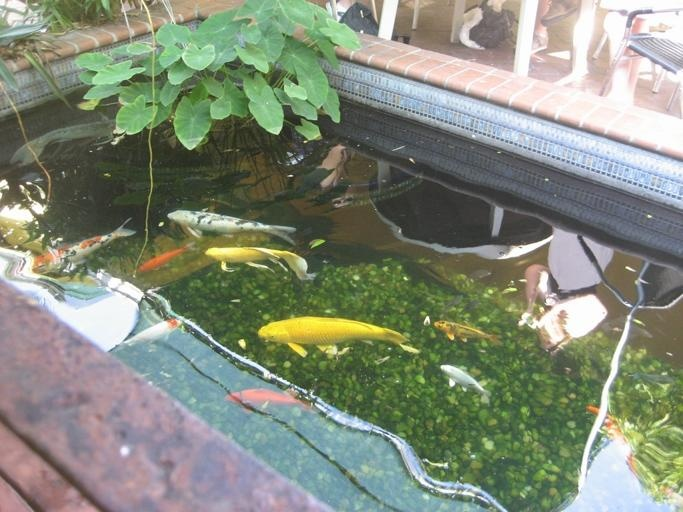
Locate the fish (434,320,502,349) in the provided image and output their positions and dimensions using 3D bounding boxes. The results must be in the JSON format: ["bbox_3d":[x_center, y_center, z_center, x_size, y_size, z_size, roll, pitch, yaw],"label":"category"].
[{"bbox_3d":[0.575,0.349,2.562,0.301,0.072,0.114,-2,35,6],"label":"fish"}]

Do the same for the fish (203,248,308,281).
[{"bbox_3d":[-0.428,0.082,2.844,0.433,0.144,0.217,5,-5,-5],"label":"fish"}]

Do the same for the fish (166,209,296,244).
[{"bbox_3d":[-0.624,-0.155,3.053,0.488,0.111,0.124,5,37,2],"label":"fish"}]

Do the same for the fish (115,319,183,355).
[{"bbox_3d":[-0.861,0.357,2.529,0.275,0.035,0.081,-30,41,-31],"label":"fish"}]
